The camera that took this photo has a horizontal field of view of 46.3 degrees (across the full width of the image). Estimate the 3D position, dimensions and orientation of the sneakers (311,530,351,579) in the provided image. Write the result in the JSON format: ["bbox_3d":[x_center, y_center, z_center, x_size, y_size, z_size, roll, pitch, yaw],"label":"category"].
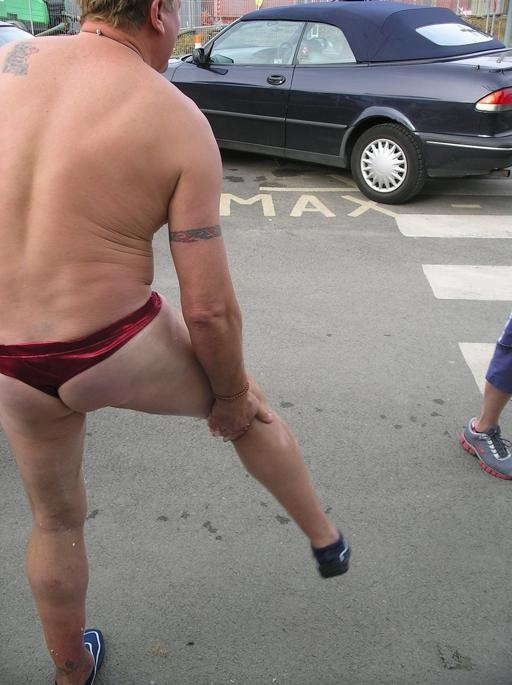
[{"bbox_3d":[0.229,0.625,1.744,0.062,0.112,0.100,-15,77,23],"label":"sneakers"}]
